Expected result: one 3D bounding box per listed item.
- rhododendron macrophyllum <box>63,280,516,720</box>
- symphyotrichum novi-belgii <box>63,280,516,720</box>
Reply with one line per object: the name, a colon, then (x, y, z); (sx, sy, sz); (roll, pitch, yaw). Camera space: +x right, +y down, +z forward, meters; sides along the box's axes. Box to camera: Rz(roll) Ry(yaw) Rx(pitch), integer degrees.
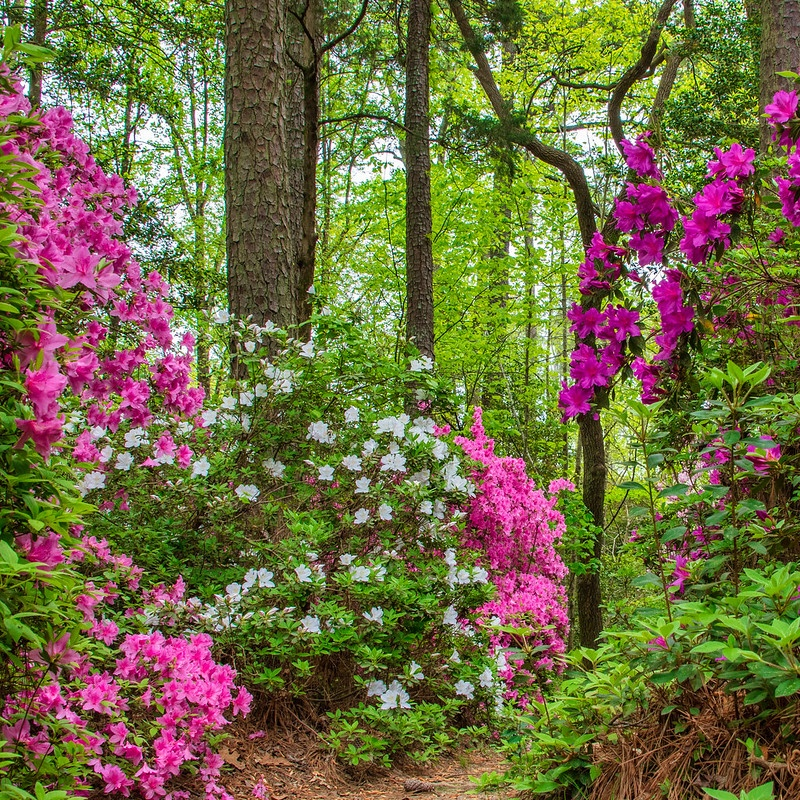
rhododendron macrophyllum: (-0.290, 0.574, 6.111); (2.082, 2.256, 2.893); (1, 1, -38)
symphyotrichum novi-belgii: (-0.170, 0.580, 6.131); (2.082, 2.256, 2.893); (1, 1, -38)
